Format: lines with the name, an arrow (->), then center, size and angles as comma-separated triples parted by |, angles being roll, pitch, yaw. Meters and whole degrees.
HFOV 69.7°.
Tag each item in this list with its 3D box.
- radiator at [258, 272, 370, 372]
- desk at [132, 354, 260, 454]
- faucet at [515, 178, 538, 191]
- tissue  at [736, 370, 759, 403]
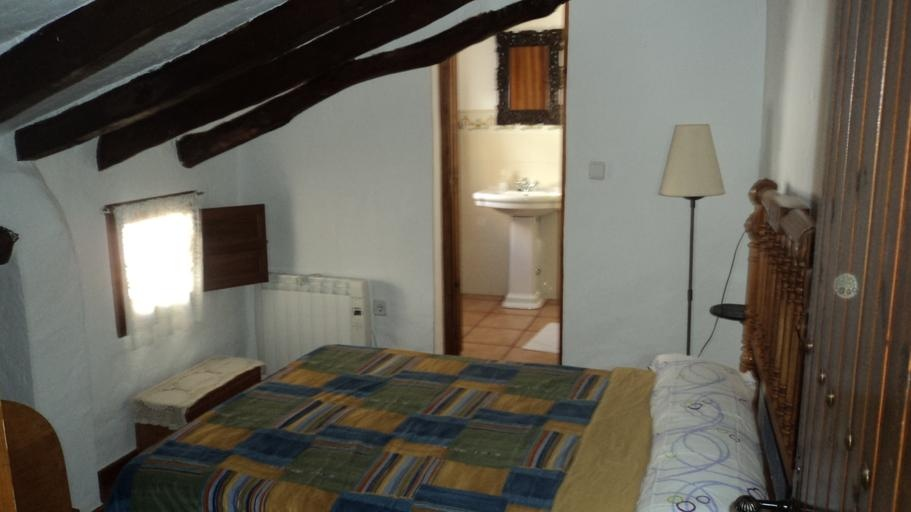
radiator -> -1.143, 0.530, 5.440 | 0.912, 0.752, 0.279 | 3, 11, 18
desk -> -1.999, 1.024, 5.031 | 0.630, 0.608, 0.914 | 6, 14, 19
faucet -> 0.754, -0.754, 6.913 | 0.159, 0.076, 0.208 | 1, 0, 11
tissue  -> 1.781, 0.785, 3.959 | 0.155, 0.140, 0.044 | 2, -5, -37
